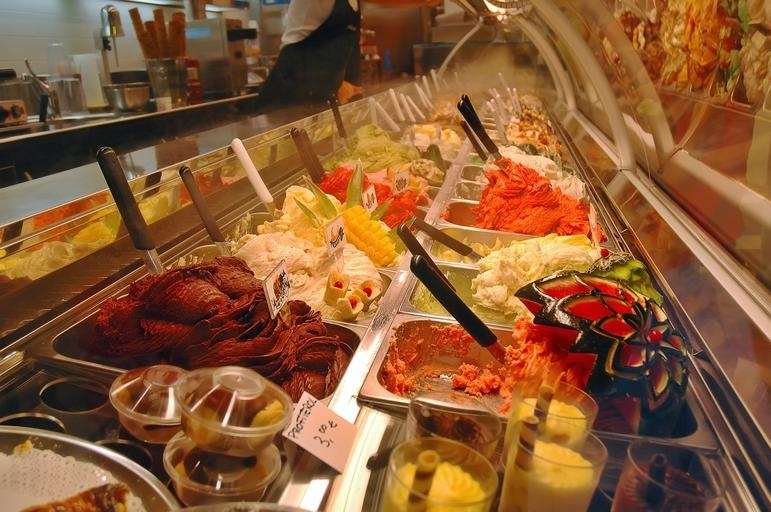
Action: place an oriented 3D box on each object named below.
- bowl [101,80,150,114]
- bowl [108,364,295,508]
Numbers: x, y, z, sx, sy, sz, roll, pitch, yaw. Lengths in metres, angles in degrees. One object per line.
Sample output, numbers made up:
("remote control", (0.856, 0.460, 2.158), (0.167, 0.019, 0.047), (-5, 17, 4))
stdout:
("bowl", (-2.099, -1.291, 3.975), (0.311, 0.191, 0.303), (-1, 11, 0))
("bowl", (-0.416, 0.399, 1.140), (0.279, 0.171, 0.435), (-11, 29, -42))
